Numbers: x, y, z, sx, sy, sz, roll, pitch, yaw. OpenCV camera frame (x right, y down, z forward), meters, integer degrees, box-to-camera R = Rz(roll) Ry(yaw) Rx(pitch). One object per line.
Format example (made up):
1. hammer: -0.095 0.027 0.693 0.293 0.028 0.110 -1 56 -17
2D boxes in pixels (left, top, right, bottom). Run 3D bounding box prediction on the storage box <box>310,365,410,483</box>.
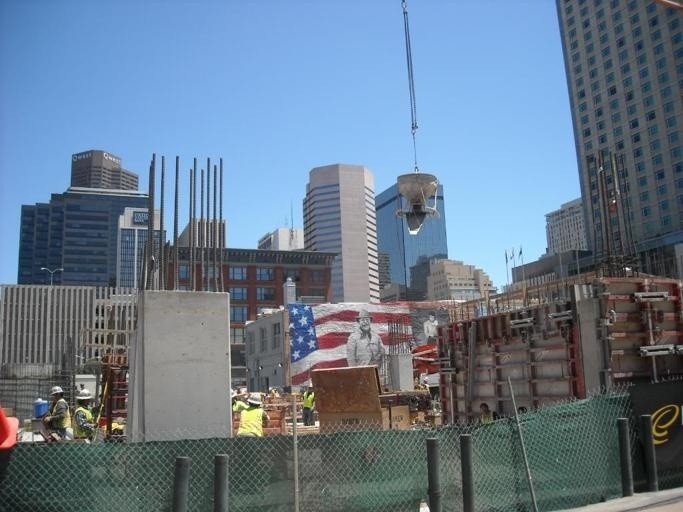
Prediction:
1. storage box: 0.617 5.127 20.636 2.391 3.366 2.127 -10 -16 30
